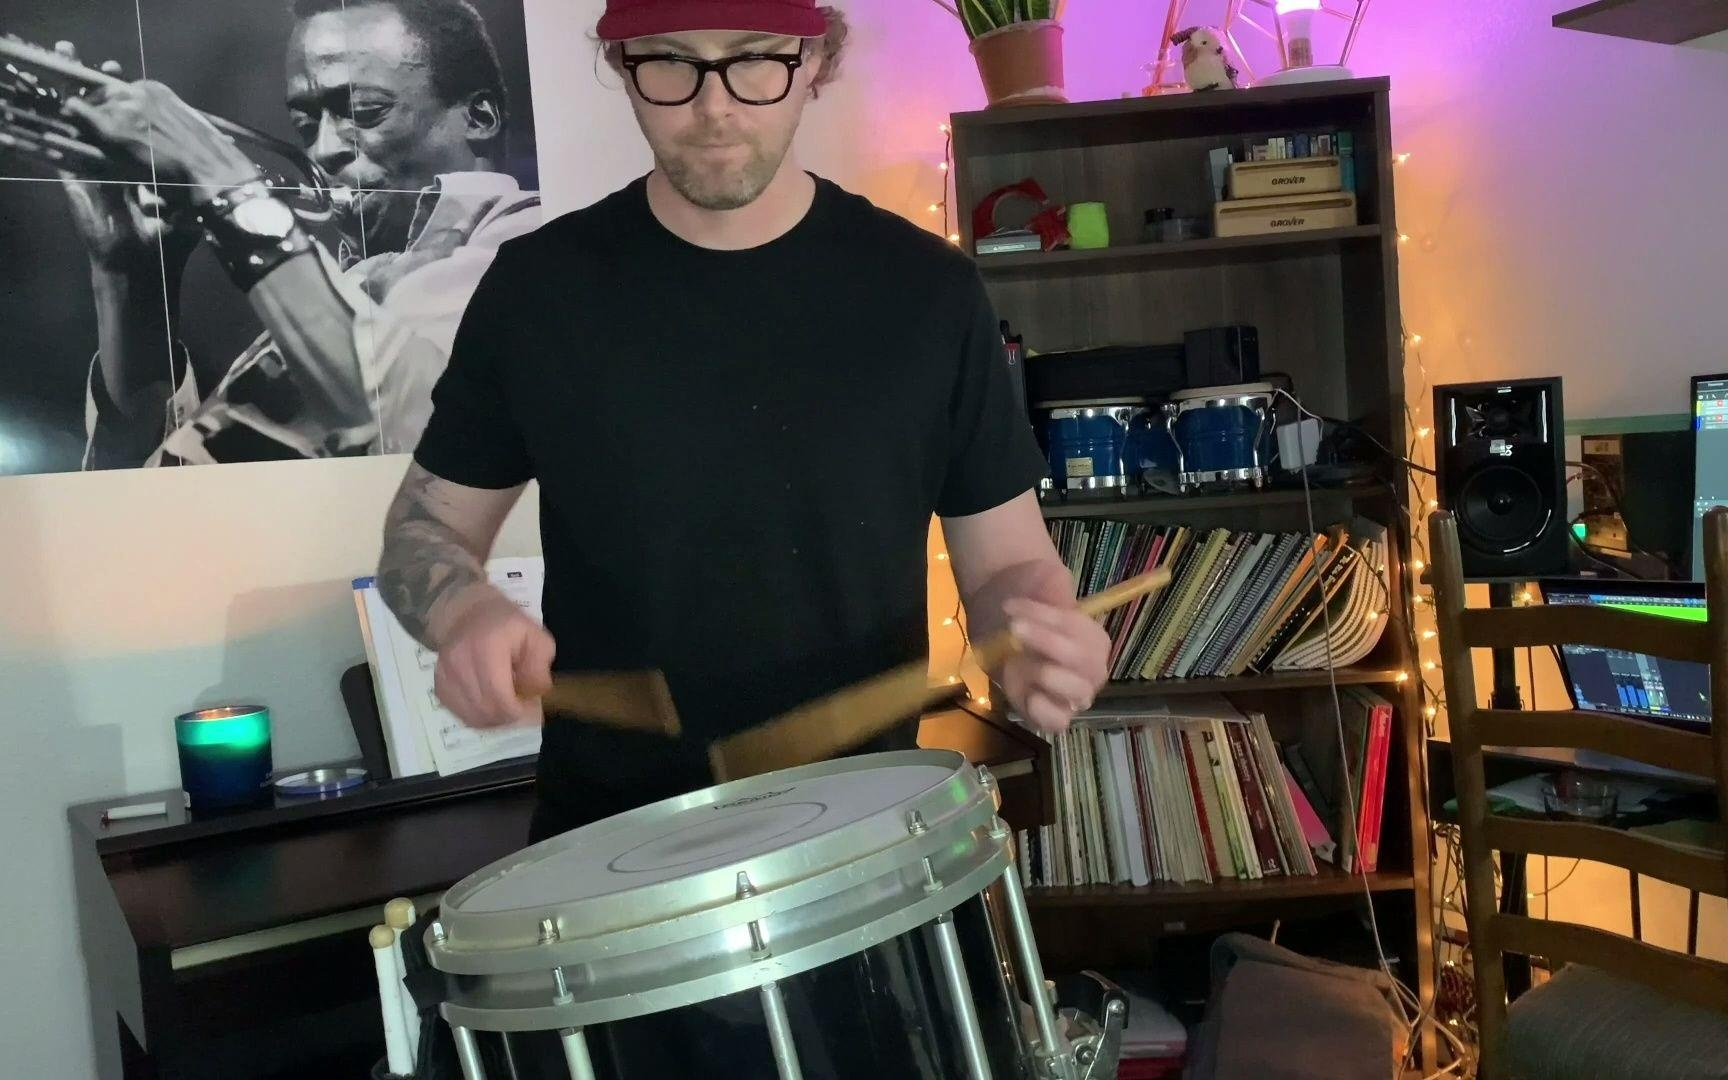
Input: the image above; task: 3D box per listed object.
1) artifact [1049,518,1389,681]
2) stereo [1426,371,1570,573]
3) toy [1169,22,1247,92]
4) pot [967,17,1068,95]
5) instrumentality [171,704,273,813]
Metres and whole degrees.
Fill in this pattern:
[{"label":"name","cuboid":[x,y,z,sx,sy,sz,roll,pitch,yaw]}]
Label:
[{"label":"artifact","cuboid":[0.940,0.143,3.137,0.546,0.176,0.522,4,5,-15]},{"label":"stereo","cuboid":[1.584,-0.158,3.072,0.338,0.474,0.333,-4,4,27]},{"label":"toy","cuboid":[0.836,-1.179,3.113,0.154,0.167,0.120,-1,8,13]},{"label":"pot","cuboid":[0.380,-1.148,3.044,0.200,0.124,0.193,-13,14,3]},{"label":"instrumentality","cuboid":[-1.333,0.452,2.624,0.174,0.184,0.177,-4,0,28]}]
